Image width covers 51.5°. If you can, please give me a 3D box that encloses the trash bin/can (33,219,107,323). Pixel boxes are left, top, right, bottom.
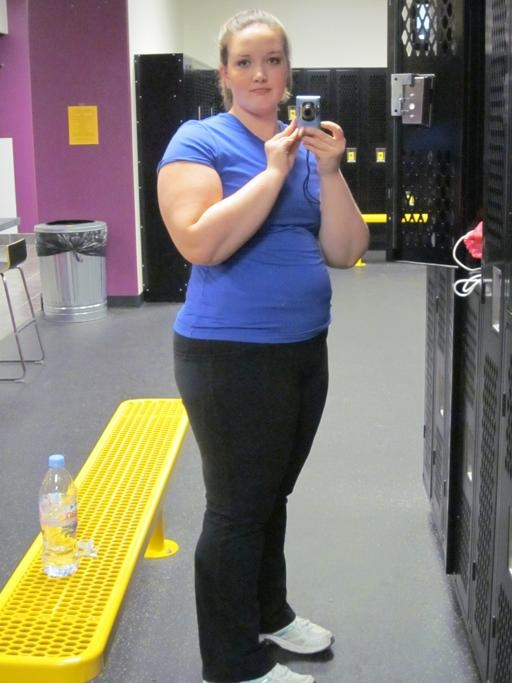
[{"bbox_3d":[-1.683,-0.746,5.324,0.752,1.110,0.857,1,13,4],"label":"trash bin/can"}]

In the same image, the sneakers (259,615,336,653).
[{"bbox_3d":[0.105,0.705,1.316,0.189,0.095,0.080,3,5,-7],"label":"sneakers"}]
